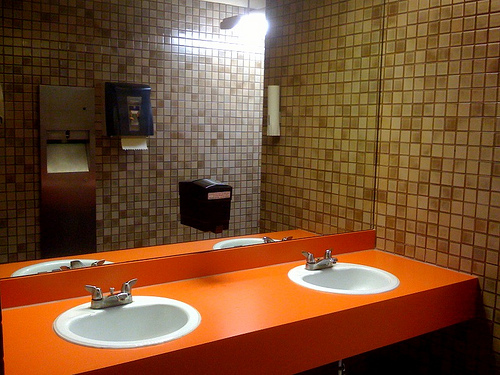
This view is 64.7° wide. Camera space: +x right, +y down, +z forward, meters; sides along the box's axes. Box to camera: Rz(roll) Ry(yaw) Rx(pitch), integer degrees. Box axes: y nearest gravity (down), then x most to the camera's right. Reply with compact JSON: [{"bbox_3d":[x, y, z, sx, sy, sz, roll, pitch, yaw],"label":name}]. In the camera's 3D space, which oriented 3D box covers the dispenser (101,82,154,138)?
[{"bbox_3d":[-0.544,-0.346,1.723,0.248,0.250,0.128,-2,3,-37],"label":"dispenser"}]
